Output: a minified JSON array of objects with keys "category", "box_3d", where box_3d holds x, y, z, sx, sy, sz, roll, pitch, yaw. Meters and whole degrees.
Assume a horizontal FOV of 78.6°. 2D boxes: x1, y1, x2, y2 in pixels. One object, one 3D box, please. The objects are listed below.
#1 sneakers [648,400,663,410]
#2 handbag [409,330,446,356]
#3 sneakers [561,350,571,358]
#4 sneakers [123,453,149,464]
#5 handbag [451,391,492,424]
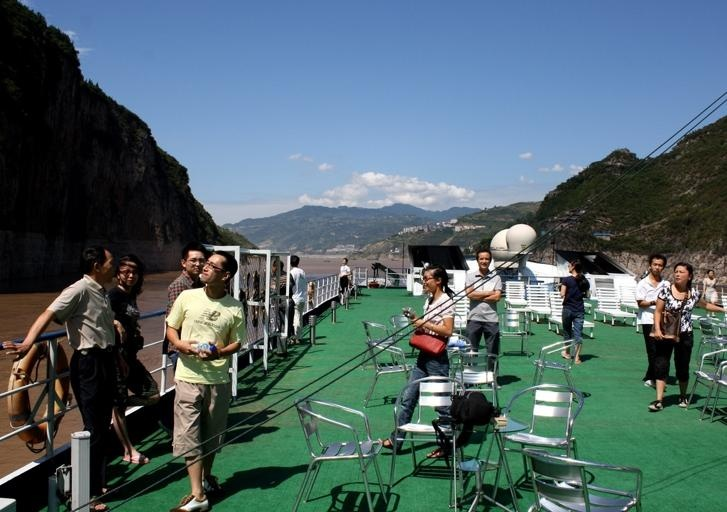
[{"category":"sneakers","box_3d":[4.734,2.395,7.132,0.339,0.112,0.114,-3,-2,-30]},{"category":"handbag","box_3d":[0.784,1.076,5.391,0.458,0.255,0.237,-2,0,10]},{"category":"sneakers","box_3d":[4.858,2.386,10.597,0.144,0.110,0.303,2,3,17]},{"category":"sneakers","box_3d":[-2.641,2.317,5.140,0.235,0.064,0.140,1,-3,12]},{"category":"handbag","box_3d":[1.047,1.470,4.228,0.423,0.289,0.223,-2,0,10]}]
